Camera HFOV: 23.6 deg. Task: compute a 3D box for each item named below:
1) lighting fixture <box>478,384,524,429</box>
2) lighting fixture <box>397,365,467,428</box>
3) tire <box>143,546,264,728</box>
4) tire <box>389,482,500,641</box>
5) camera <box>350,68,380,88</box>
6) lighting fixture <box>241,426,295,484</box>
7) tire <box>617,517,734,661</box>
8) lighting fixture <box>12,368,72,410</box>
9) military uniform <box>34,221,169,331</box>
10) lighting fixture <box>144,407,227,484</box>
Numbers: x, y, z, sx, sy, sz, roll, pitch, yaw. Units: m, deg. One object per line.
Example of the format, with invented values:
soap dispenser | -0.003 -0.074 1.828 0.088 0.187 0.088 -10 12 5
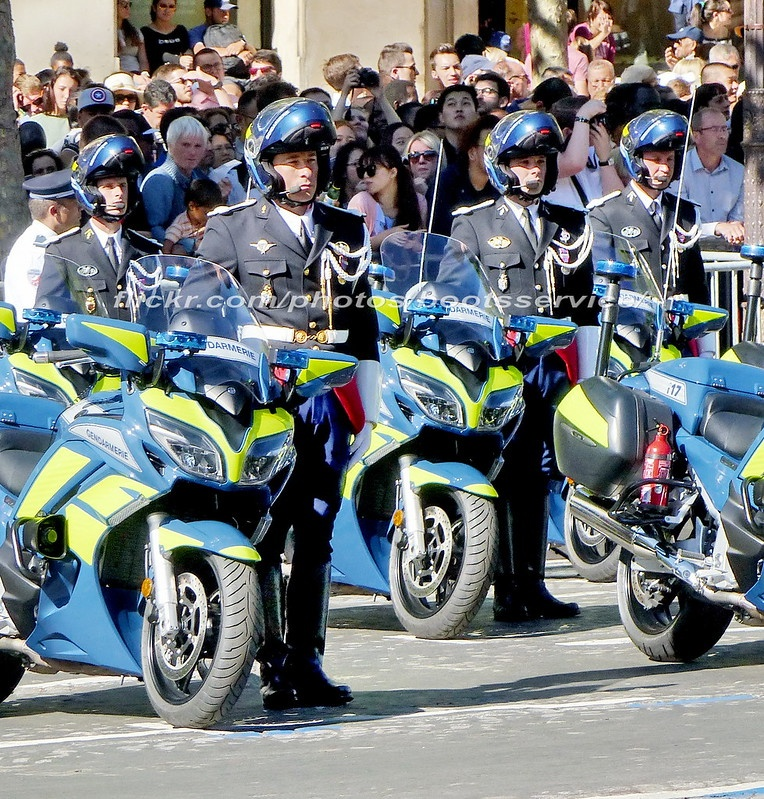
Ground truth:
lighting fixture | 0.524 0.043 7.816 0.098 0.180 0.353 2 9 26
lighting fixture | 0.217 -0.003 7.736 0.175 0.279 0.088 -34 -22 20
tire | -0.582 0.753 5.908 0.129 0.442 0.489 4 45 -37
tire | 0.286 0.723 7.810 0.332 0.713 0.637 -6 9 -23
camera | -0.099 -2.222 12.713 0.121 0.071 0.158 8 7 35
lighting fixture | -0.376 0.194 5.957 0.086 0.083 0.233 10 13 10
tire | 1.138 0.719 7.054 0.238 0.591 0.548 2 7 -41
lighting fixture | -1.372 -0.038 7.484 0.225 0.063 0.060 32 -8 -3
military uniform | -1.055 -0.446 6.889 0.499 0.471 0.268 10 -12 -28
lighting fixture | -0.633 0.159 5.845 0.262 0.225 0.074 3 10 30
